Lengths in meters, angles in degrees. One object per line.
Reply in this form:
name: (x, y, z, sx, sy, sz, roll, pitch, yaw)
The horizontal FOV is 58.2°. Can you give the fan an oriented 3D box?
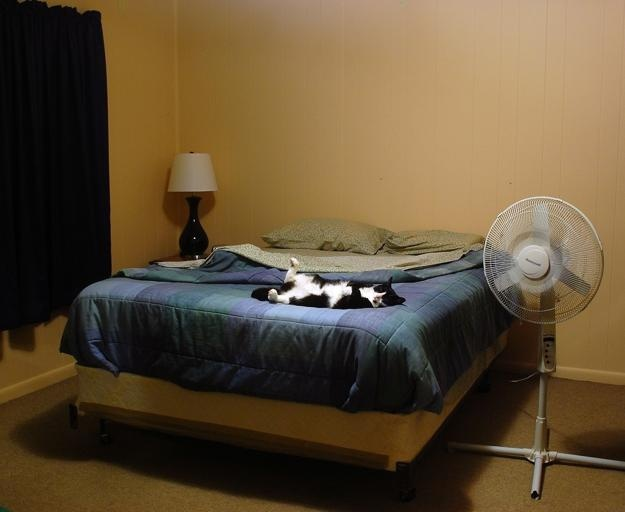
fan: (0.985, 0.375, 2.534, 0.616, 1.283, 0.394, 5, 10, 30)
